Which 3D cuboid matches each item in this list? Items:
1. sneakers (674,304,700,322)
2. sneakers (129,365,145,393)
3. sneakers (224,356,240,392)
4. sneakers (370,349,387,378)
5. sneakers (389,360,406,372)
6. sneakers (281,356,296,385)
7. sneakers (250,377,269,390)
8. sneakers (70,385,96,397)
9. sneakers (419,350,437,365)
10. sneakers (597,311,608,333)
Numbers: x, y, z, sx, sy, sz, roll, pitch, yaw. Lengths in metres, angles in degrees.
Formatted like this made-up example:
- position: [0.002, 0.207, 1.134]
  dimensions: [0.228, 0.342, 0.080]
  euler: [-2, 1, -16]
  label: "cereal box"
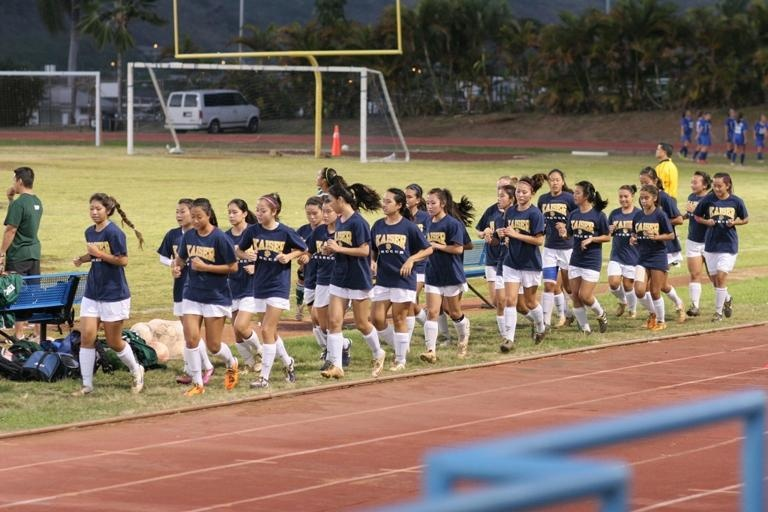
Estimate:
- position: [5.737, 1.121, 25.361]
  dimensions: [0.207, 0.237, 0.609]
  euler: [-16, -12, 33]
  label: "sneakers"
- position: [-3.957, 2.004, 21.539]
  dimensions: [0.166, 0.438, 0.205]
  euler: [-1, -1, 18]
  label: "sneakers"
- position: [-2.457, 1.961, 21.813]
  dimensions: [0.204, 0.520, 0.223]
  euler: [1, -4, 8]
  label: "sneakers"
- position: [-0.074, 1.811, 22.221]
  dimensions: [0.169, 0.459, 0.196]
  euler: [-2, -26, 47]
  label: "sneakers"
- position: [0.240, 1.869, 22.423]
  dimensions: [0.141, 0.093, 0.235]
  euler: [25, 41, 37]
  label: "sneakers"
- position: [-1.548, 1.901, 21.986]
  dimensions: [0.161, 0.424, 0.196]
  euler: [-4, 2, 29]
  label: "sneakers"
- position: [-1.994, 2.072, 21.600]
  dimensions: [0.305, 0.111, 0.146]
  euler: [3, 5, -5]
  label: "sneakers"
- position: [-4.757, 2.182, 21.280]
  dimensions: [0.295, 0.103, 0.140]
  euler: [2, 2, -5]
  label: "sneakers"
- position: [0.759, 1.739, 22.722]
  dimensions: [0.144, 0.131, 0.313]
  euler: [-6, -17, 39]
  label: "sneakers"
- position: [3.958, 1.247, 24.454]
  dimensions: [0.156, 0.416, 0.206]
  euler: [-8, -15, 37]
  label: "sneakers"
